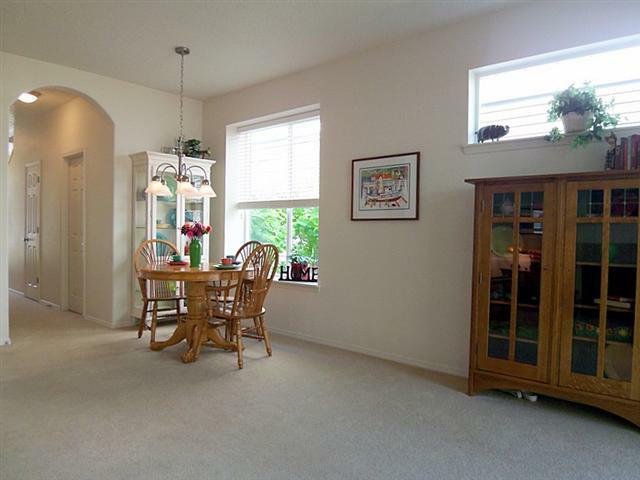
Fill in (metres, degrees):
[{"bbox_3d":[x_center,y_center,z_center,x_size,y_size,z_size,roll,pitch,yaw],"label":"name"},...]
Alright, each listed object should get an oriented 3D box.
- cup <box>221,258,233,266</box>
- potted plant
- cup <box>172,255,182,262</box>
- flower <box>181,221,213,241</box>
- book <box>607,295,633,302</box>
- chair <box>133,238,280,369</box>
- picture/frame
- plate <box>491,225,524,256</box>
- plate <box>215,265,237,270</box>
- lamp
[{"bbox_3d":[-0.963,0.232,4.684,0.101,0.048,0.073,7,-11,-25],"label":"cup"},{"bbox_3d":[2.155,-1.001,3.756,0.523,0.414,0.546,0,2,19],"label":"potted plant"},{"bbox_3d":[-1.586,0.208,5.038,0.086,0.080,0.111,-4,-9,33],"label":"cup"},{"bbox_3d":[-1.294,-0.092,4.628,0.257,0.175,0.313,-5,11,-29],"label":"flower"},{"bbox_3d":[2.230,0.447,3.342,0.155,0.048,0.017,5,11,25],"label":"book"},{"bbox_3d":[-1.067,0.656,4.687,1.194,1.186,1.237,3,-1,27],"label":"chair"},{"bbox_3d":[0.697,-0.558,4.655,0.723,0.662,0.029,0,-2,35],"label":"picture/frame"},{"bbox_3d":[1.495,0.010,3.706,0.174,0.232,0.081,2,6,34],"label":"plate"},{"bbox_3d":[-0.962,0.269,4.586,0.236,0.025,0.199,-1,10,-10],"label":"plate"},{"bbox_3d":[-1.528,-1.284,4.950,0.669,1.535,0.581,3,17,-10],"label":"lamp"}]
